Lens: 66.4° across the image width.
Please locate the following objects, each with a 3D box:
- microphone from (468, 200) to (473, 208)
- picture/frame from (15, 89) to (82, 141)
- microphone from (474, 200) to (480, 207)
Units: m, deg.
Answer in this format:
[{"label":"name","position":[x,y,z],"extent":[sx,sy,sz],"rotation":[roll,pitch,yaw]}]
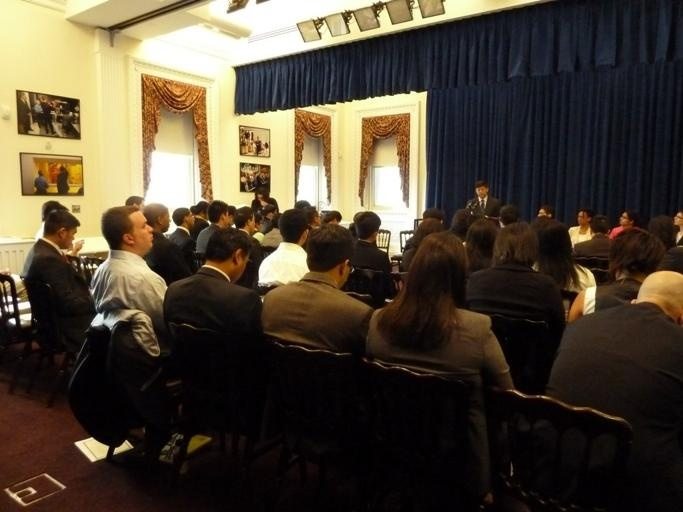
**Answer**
[{"label":"microphone","position":[2.082,-0.833,8.387],"extent":[0.045,0.145,0.095],"rotation":[12,4,-25]},{"label":"picture/frame","position":[-3.975,-1.915,7.071],"extent":[0.015,0.540,0.798],"rotation":[6,8,41]},{"label":"microphone","position":[2.172,-0.823,8.294],"extent":[0.019,0.089,0.059],"rotation":[8,-3,-29]}]
